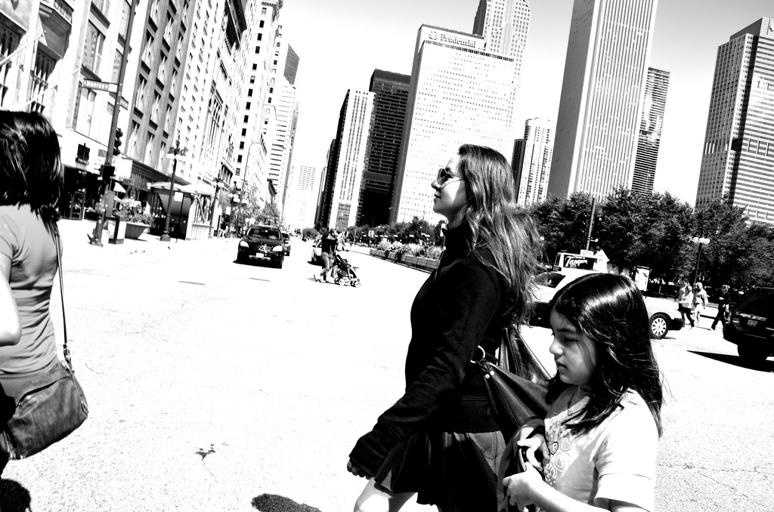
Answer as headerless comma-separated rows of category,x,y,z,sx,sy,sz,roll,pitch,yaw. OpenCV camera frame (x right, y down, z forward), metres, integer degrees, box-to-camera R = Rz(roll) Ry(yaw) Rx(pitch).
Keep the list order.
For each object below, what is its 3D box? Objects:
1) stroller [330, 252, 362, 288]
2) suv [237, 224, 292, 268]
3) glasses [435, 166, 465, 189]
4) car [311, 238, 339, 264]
stroller,-1.570,0.568,21.129,0.997,1.332,0.770,3,-7,-20
suv,-5.818,-0.509,24.776,2.126,1.799,2.438,6,2,-17
glasses,0.358,-0.445,3.053,0.117,0.057,0.106,9,-2,-18
car,-3.534,-0.420,29.688,1.479,1.554,2.658,0,-4,-7
